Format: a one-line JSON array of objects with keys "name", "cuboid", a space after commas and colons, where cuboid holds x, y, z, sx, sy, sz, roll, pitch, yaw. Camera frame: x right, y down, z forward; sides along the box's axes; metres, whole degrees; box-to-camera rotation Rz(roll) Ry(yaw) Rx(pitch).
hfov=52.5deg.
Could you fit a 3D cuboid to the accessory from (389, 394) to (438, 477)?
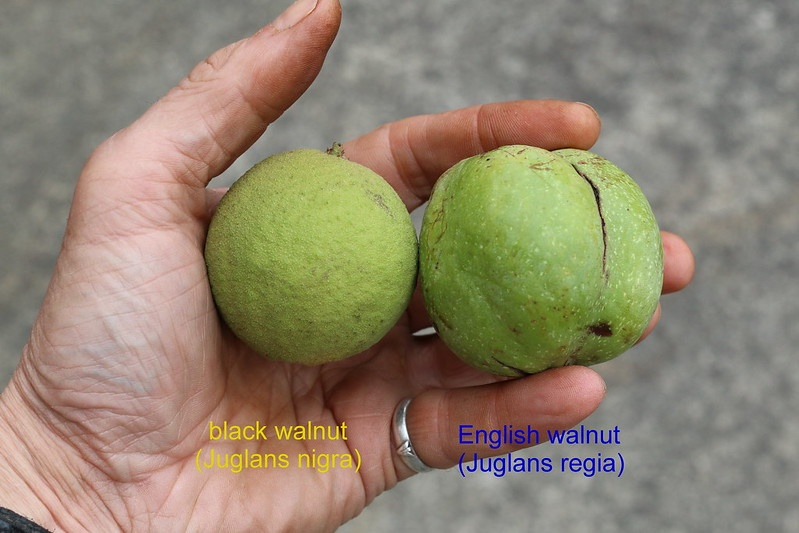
[{"name": "accessory", "cuboid": [0.020, 0.549, 2.601, 0.083, 0.172, 0.207, -15, 88, 11]}]
